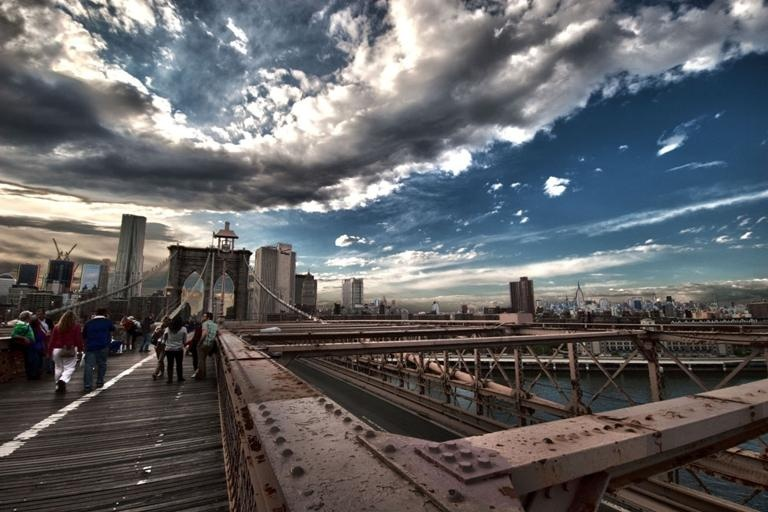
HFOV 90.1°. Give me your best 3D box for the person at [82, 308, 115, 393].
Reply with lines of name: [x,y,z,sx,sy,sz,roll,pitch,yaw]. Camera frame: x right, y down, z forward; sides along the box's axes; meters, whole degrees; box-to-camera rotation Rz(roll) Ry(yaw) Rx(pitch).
person: [-7.396,2.411,9.910,0.646,2.024,0.686,-3,-7,30]

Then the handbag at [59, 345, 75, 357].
handbag: [-7.854,2.380,9.473,0.132,0.308,0.313,-4,-7,43]

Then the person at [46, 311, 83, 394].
person: [-8.105,2.440,9.787,0.654,2.468,0.872,3,-1,-41]
